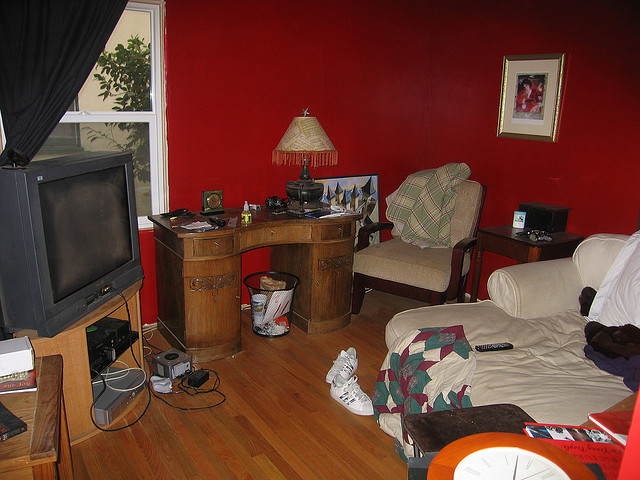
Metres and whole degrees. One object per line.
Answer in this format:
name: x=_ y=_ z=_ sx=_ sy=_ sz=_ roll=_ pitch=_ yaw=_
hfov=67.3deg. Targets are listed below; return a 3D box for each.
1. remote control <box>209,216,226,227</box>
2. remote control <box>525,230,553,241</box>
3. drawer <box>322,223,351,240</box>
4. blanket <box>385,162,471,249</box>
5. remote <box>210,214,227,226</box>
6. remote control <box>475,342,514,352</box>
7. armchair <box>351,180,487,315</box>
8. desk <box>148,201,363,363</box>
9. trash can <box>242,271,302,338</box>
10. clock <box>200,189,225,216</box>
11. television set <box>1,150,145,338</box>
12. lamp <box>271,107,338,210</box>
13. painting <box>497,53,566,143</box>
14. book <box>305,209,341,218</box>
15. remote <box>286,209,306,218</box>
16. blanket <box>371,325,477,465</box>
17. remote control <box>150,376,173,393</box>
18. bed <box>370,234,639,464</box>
remote control: x=-0.717 y=-0.128 z=3.317 sx=0.062 sy=0.053 sz=0.172 roll=0 pitch=13 yaw=-45
remote control: x=1.622 y=-0.034 z=3.559 sx=0.123 sy=0.054 sz=0.091 roll=13 pitch=18 yaw=25
drawer: x=0.121 y=-0.061 z=3.633 sx=0.204 sy=0.133 sz=0.119 roll=-13 pitch=24 yaw=-39
blanket: x=0.920 y=-0.405 z=4.173 sx=0.753 sy=0.266 sz=1.040 roll=8 pitch=43 yaw=16
remote: x=-0.702 y=-0.134 z=3.355 sx=0.062 sy=0.069 sz=0.200 roll=21 pitch=4 yaw=-33
remote control: x=0.935 y=0.570 z=2.567 sx=0.139 sy=0.023 sz=0.071 roll=-1 pitch=2 yaw=-2
armchair: x=0.802 y=0.074 z=4.041 sx=1.006 sy=1.136 sz=1.060 roll=0 pitch=15 yaw=-8
desk: x=-0.439 y=0.259 z=3.700 sx=1.441 sy=0.951 sz=0.717 roll=-8 pitch=19 yaw=-32
trash can: x=-0.388 y=0.532 z=3.791 sx=0.439 sy=0.388 sz=0.452 roll=3 pitch=9 yaw=-18
clock: x=-0.790 y=-0.269 z=3.523 sx=0.181 sy=0.176 sz=0.064 roll=-11 pitch=19 yaw=-41
television set: x=-1.289 y=0.023 z=2.481 sx=0.406 sy=0.860 sz=0.859 roll=8 pitch=18 yaw=10
lamp: x=-0.116 y=-0.631 z=3.725 sx=0.476 sy=0.736 sz=0.512 roll=2 pitch=16 yaw=-2
painting: x=1.692 y=-1.137 z=3.802 sx=0.052 sy=0.761 sz=0.612 roll=-15 pitch=25 yaw=-34
book: x=0.020 y=-0.196 z=3.645 sx=0.202 sy=0.015 sz=0.151 roll=-8 pitch=18 yaw=-39
remote: x=-0.191 y=-0.203 z=3.631 sx=0.205 sy=0.037 sz=0.082 roll=16 pitch=20 yaw=41
blanket: x=0.525 y=0.806 z=2.521 sx=0.202 sy=0.667 sz=0.510 roll=11 pitch=5 yaw=-45
remote control: x=-1.013 y=0.916 z=3.048 sx=0.171 sy=0.076 sz=0.100 roll=7 pitch=16 yaw=15
bed: x=1.124 y=0.557 z=2.580 sx=1.501 sy=0.850 sz=1.119 roll=-5 pitch=18 yaw=-14
